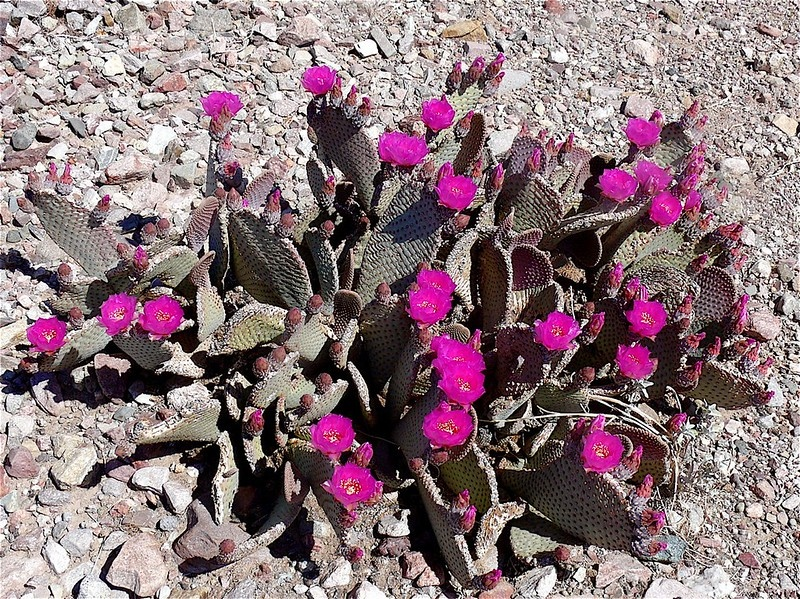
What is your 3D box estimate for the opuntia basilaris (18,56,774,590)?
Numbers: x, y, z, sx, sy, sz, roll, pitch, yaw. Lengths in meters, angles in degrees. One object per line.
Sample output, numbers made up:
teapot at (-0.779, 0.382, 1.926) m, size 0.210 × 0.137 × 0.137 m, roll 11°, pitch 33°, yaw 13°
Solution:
opuntia basilaris at (-0.040, 0.436, 3.610) m, size 2.589 × 1.230 × 2.340 m, roll 8°, pitch 63°, yaw -9°
